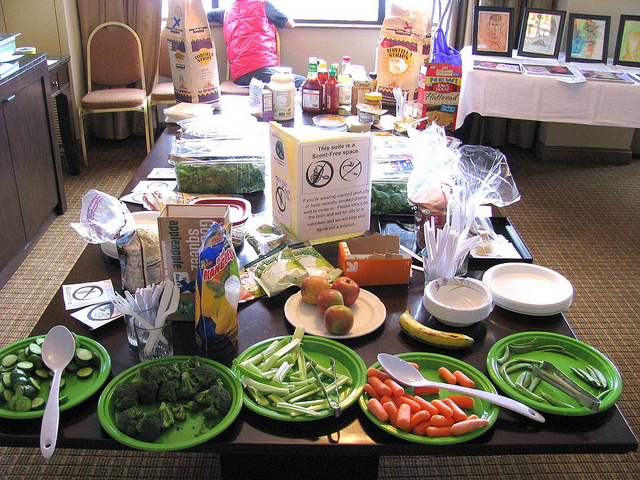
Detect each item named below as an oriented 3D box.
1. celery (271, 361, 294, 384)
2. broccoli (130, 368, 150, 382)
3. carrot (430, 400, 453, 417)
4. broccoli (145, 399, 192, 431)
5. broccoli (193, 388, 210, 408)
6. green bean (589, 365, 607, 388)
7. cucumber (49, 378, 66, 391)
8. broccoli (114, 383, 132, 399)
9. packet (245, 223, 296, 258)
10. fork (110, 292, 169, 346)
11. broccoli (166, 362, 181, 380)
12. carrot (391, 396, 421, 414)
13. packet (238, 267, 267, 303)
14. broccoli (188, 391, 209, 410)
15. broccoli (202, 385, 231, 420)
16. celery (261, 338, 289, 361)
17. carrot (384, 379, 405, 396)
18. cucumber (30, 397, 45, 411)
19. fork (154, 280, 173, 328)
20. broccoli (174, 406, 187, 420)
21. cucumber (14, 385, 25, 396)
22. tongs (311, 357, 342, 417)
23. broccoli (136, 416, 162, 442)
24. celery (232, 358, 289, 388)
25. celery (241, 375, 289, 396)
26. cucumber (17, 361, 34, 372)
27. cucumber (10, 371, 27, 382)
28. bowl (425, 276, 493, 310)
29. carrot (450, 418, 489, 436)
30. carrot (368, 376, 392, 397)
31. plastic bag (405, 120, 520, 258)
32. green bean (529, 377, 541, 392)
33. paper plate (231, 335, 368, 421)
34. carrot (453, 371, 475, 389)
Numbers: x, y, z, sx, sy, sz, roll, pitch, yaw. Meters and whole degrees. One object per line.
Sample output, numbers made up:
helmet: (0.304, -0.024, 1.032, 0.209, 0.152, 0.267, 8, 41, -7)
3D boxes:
celery: (-0.089, 0.312, 1.064, 0.028, 0.012, 0.043, 17, 46, 37)
broccoli: (-0.408, 0.306, 1.036, 0.037, 0.029, 0.024, -28, -3, -23)
carrot: (0.271, 0.376, 1.008, 0.020, 0.016, 0.043, 23, 8, -14)
broccoli: (-0.338, 0.374, 0.990, 0.042, 0.022, 0.070, 21, 33, 17)
broccoli: (-0.266, 0.358, 1.017, 0.032, 0.022, 0.021, -50, 39, 2)
green bean: (0.695, 0.341, 1.124, 0.012, 0.009, 0.049, 4, 35, 5)
cucumber: (-0.616, 0.343, 1.065, 0.026, 0.027, 0.006, 32, 3, 30)
broccoli: (-0.434, 0.337, 1.007, 0.035, 0.019, 0.027, -16, 62, -11)
packet: (-0.181, -0.005, 1.574, 0.130, 0.039, 0.112, -21, 47, -32)
fork: (-0.436, 0.197, 1.108, 0.021, 0.197, 0.031, -7, 41, 44)
broccoli: (-0.336, 0.304, 1.050, 0.032, 0.019, 0.028, 9, 53, -3)
carrot: (0.198, 0.369, 1.019, 0.073, 0.022, 0.020, 12, 54, 43)
packet: (-0.208, 0.128, 1.368, 0.092, 0.127, 0.018, -10, 31, -26)
broccoli: (-0.274, 0.357, 1.027, 0.046, 0.036, 0.021, -52, 10, -16)
broccoli: (-0.224, 0.359, 0.994, 0.064, 0.065, 0.055, 10, -10, 35)
celery: (-0.115, 0.276, 1.140, 0.087, 0.024, 0.026, -32, 80, -38)
carrot: (0.171, 0.341, 1.039, 0.024, 0.023, 0.053, -2, 17, -16)
cucumber: (-0.630, 0.367, 1.012, 0.027, 0.010, 0.036, -11, 28, -21)
fork: (-0.376, 0.156, 1.086, 0.016, 0.121, 0.009, 20, -8, 32)
broccoli: (-0.304, 0.381, 0.994, 0.022, 0.032, 0.022, -4, -8, 21)
cucumber: (-0.665, 0.338, 1.006, 0.025, 0.013, 0.019, 22, 33, 36)
tongs: (0.016, 0.338, 1.022, 0.038, 0.020, 0.115, -12, 38, -18)
broccoli: (-0.357, 0.396, 0.947, 0.047, 0.046, 0.035, -8, 27, -16)
celery: (-0.141, 0.311, 1.046, 0.148, 0.046, 0.029, 22, 11, -26)
celery: (-0.127, 0.337, 1.033, 0.111, 0.040, 0.019, 5, 27, 9)
cucumber: (-0.697, 0.302, 1.074, 0.030, 0.016, 0.030, 20, 32, 34)
cucumber: (-0.690, 0.313, 1.036, 0.031, 0.014, 0.021, -17, 31, -31)
bowl: (0.378, 0.128, 1.371, 0.225, 0.078, 0.206, -1, 18, 0)
carrot: (0.322, 0.399, 0.973, 0.066, 0.035, 0.021, -9, 70, -13)
carrot: (0.135, 0.336, 1.040, 0.028, 0.029, 0.065, -23, 31, -15)
plastic bag: (0.508, -0.176, 1.601, 0.421, 0.376, 0.570, 5, 27, 8)
green bean: (0.514, 0.348, 1.092, 0.015, 0.010, 0.059, 31, 33, 16)
paper plate: (-0.074, 0.361, 1.164, 0.326, 0.153, 0.265, -11, 28, -22)
carrot: (0.345, 0.339, 1.088, 0.027, 0.025, 0.056, -12, 18, -8)
